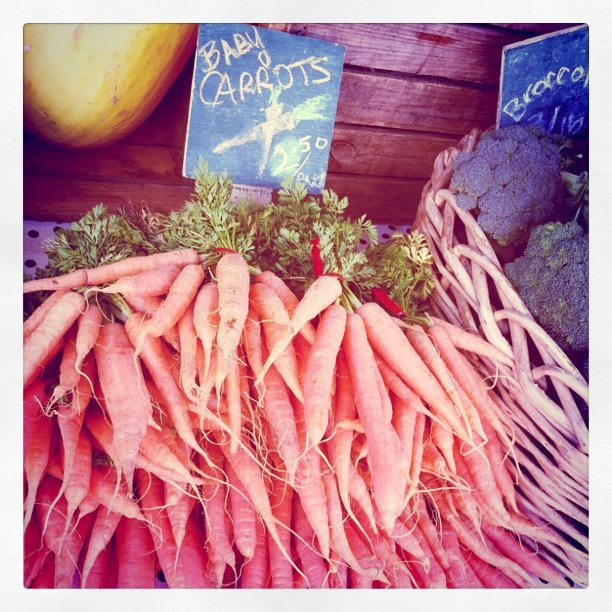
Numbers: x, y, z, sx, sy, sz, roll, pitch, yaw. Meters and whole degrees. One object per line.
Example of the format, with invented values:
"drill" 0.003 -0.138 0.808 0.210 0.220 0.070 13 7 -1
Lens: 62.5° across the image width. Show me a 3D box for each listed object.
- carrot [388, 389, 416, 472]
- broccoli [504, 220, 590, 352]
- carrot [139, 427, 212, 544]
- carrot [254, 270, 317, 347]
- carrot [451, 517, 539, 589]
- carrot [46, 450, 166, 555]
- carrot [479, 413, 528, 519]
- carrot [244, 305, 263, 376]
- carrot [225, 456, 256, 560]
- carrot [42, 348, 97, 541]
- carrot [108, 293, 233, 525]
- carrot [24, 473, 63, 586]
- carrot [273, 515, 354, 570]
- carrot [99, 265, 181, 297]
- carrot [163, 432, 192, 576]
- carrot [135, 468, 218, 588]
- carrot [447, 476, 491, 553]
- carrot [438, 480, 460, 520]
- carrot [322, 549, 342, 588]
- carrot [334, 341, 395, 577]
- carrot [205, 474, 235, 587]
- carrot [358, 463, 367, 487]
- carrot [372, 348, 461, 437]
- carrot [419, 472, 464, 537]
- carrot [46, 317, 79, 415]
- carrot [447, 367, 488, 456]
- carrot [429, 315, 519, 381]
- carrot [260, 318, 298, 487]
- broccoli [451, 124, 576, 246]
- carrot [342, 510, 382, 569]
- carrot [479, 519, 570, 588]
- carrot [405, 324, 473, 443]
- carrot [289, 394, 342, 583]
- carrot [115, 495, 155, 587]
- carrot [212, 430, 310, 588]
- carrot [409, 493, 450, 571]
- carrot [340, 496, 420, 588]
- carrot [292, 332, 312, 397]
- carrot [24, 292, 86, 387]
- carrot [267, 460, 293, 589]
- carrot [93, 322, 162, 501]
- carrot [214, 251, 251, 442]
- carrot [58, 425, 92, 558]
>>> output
"carrot" 0.275 0.347 1.464 0.058 0.044 0.243 37 35 -46
"broccoli" 0.703 -0.060 1.436 0.277 0.337 0.107 19 23 22
"carrot" -0.360 0.492 1.364 0.359 0.075 0.064 56 2 20
"carrot" -0.069 -0.032 1.570 0.089 0.094 0.346 -35 56 -6
"carrot" 0.535 0.729 1.460 0.047 0.038 0.258 7 11 -41
"carrot" -0.535 0.526 1.338 0.375 0.067 0.078 44 6 -2
"carrot" 0.580 0.478 1.486 0.044 0.043 0.327 -7 69 -40
"carrot" -0.152 0.099 1.446 0.041 0.188 0.046 -15 -20 6
"carrot" -0.183 0.597 1.402 0.069 0.070 0.326 23 1 -15
"carrot" -0.601 0.311 1.339 0.081 0.559 0.082 6 -9 4
"carrot" -0.366 0.293 1.371 0.116 0.099 0.667 -27 78 -12
"carrot" -0.676 0.534 1.316 0.052 0.053 0.300 19 5 -27
"carrot" 0.016 0.639 1.354 0.262 0.029 0.028 39 -10 10
"carrot" -0.449 -0.068 1.418 0.234 0.071 0.063 -10 -8 -32
"carrot" -0.344 0.524 1.348 0.056 0.353 0.059 -1 -4 -1
"carrot" -0.349 0.602 1.351 0.070 0.345 0.088 -22 -1 30
"carrot" 0.466 0.604 1.459 0.047 0.240 0.057 -22 -10 -2
"carrot" 0.408 0.562 1.488 0.025 0.026 0.154 -7 68 -21
"carrot" 0.078 0.691 1.356 0.030 0.031 0.115 23 65 11
"carrot" 0.139 0.342 1.419 0.081 0.090 0.764 1 69 -15
"carrot" -0.221 0.587 1.361 0.050 0.299 0.074 -5 -4 0
"carrot" 0.161 0.490 1.465 0.021 0.078 0.016 -9 13 24
"carrot" 0.310 0.253 1.456 0.048 0.044 0.297 -27 75 -46
"carrot" 0.396 0.582 1.469 0.207 0.037 0.037 62 13 23
"carrot" -0.644 0.130 1.381 0.051 0.049 0.307 5 35 -23
"carrot" 0.471 0.315 1.488 0.047 0.048 0.271 -12 68 -15
"carrot" 0.499 0.100 1.595 0.074 0.077 0.374 -34 38 -19
"carrot" -0.091 0.256 1.424 0.060 0.066 0.471 4 66 -32
"broccoli" 0.618 -0.359 1.491 0.335 0.351 0.109 -9 2 4
"carrot" 0.151 0.643 1.379 0.052 0.041 0.204 -6 59 -35
"carrot" 0.640 0.723 1.464 0.313 0.053 0.054 32 -11 1
"carrot" 0.389 0.183 1.552 0.095 0.095 0.474 -24 57 1
"carrot" 0.008 0.466 1.385 0.071 0.507 0.079 1 -18 -31
"carrot" -0.470 0.626 1.411 0.073 0.081 0.266 -15 64 -5
"carrot" -0.124 0.561 1.367 0.070 0.072 0.498 -15 67 -40
"carrot" 0.334 0.624 1.483 0.051 0.045 0.263 -11 57 -19
"carrot" 0.198 0.652 1.380 0.386 0.045 0.057 53 10 31
"carrot" -0.020 0.172 1.510 0.036 0.036 0.189 21 51 -50
"carrot" -0.666 0.066 1.386 0.071 0.308 0.076 40 -30 -30
"carrot" -0.080 0.602 1.403 0.048 0.047 0.340 0 70 -16
"carrot" -0.492 0.253 1.396 0.114 0.148 0.502 -1 62 -32
"carrot" -0.186 0.088 1.370 0.103 0.097 0.528 -4 59 9
"carrot" -0.601 0.445 1.330 0.069 0.384 0.064 5 -10 -31
